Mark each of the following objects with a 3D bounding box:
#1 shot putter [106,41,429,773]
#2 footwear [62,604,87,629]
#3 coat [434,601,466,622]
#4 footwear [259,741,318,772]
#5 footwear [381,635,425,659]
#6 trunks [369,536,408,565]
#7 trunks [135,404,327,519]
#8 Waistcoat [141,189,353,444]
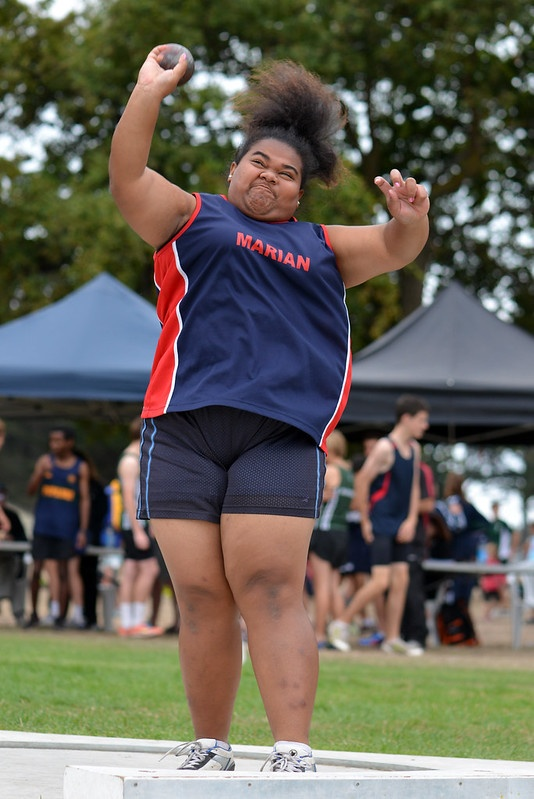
[{"bbox_3d":[0.008,-0.003,2.688,0.548,1.814,0.704,0,-3,40],"label":"shot putter"},{"bbox_3d":[-0.877,0.994,5.073,0.106,0.062,0.181,-3,-4,-4],"label":"footwear"},{"bbox_3d":[0.976,1.131,5.868,0.142,0.088,0.165,15,20,4],"label":"coat"},{"bbox_3d":[0.046,0.791,2.424,0.110,0.066,0.104,2,-2,1],"label":"footwear"},{"bbox_3d":[0.814,1.511,6.742,0.104,0.099,0.282,5,-11,-41],"label":"footwear"},{"bbox_3d":[0.818,1.022,7.477,0.230,0.342,0.217,0,-4,7],"label":"trunks"},{"bbox_3d":[-0.066,0.162,2.679,0.497,0.340,0.267,4,-22,4],"label":"trunks"},{"bbox_3d":[-0.049,-0.231,2.753,0.515,0.609,0.390,7,-18,-8],"label":"Waistcoat"}]
